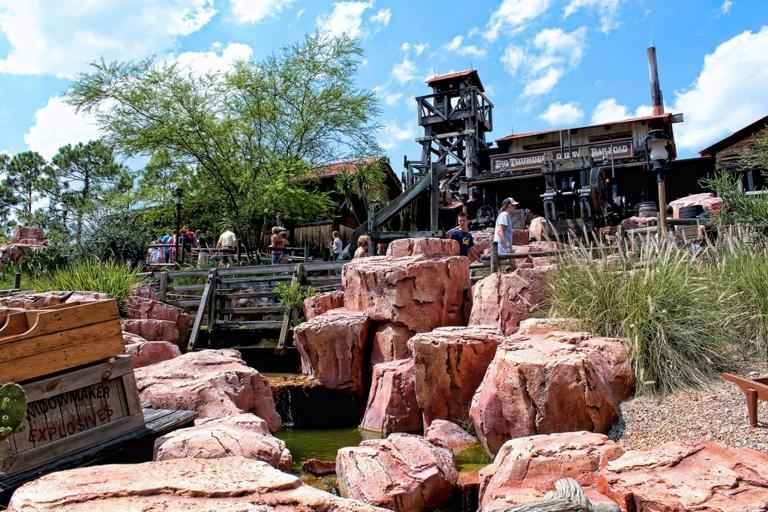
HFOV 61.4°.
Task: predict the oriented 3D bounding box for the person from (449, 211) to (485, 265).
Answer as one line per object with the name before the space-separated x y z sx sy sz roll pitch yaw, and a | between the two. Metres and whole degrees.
person | 1.614 -0.125 13.251 0.753 1.413 0.439 4 2 -23

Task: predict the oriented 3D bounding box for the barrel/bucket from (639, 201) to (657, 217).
barrel/bucket | 8.222 -1.448 20.184 0.548 0.616 0.551 -1 6 0

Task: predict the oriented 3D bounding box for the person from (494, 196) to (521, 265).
person | 2.401 -0.609 12.818 0.430 1.191 2.446 -3 -1 12

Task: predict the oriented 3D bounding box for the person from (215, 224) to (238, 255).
person | -4.883 -0.515 20.311 0.491 0.872 1.425 -2 -1 -17

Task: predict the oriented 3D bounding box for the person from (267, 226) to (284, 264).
person | -3.056 -0.332 18.689 0.386 1.006 1.371 -2 -1 -9

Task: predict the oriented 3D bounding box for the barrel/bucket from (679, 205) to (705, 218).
barrel/bucket | 7.081 -1.008 14.864 0.472 0.379 0.500 1 -3 0
